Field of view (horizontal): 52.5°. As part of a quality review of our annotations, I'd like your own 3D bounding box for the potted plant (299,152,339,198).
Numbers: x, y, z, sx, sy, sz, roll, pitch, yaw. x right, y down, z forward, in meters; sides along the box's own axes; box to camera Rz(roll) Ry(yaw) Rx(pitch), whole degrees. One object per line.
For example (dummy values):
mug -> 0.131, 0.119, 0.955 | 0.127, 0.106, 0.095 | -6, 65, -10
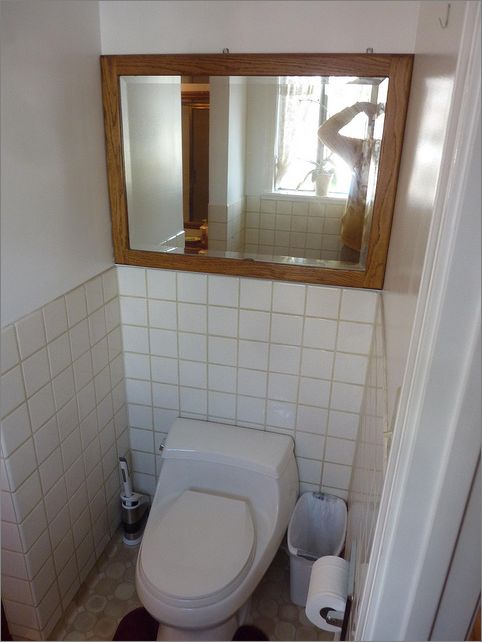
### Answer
potted plant -> 0.236, -0.439, 1.474 | 0.087, 0.122, 0.095 | 23, 42, 28
